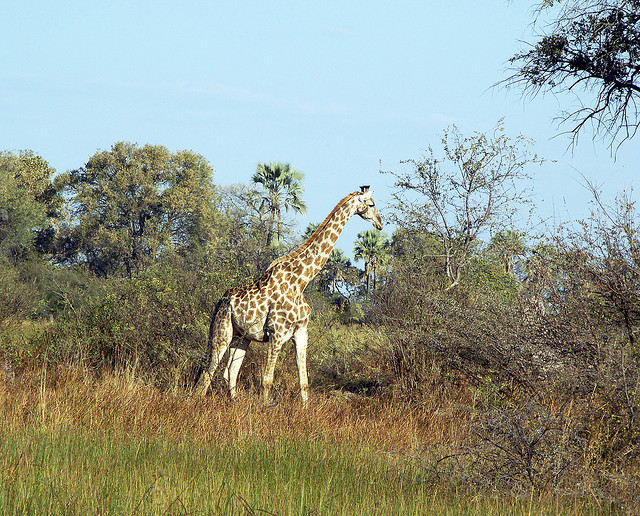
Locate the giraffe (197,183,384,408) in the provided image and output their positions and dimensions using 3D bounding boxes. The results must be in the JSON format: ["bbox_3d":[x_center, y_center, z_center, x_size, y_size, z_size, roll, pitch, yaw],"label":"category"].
[{"bbox_3d":[-0.822,0.746,19.680,2.865,4.291,3.331,5,8,21],"label":"giraffe"}]
